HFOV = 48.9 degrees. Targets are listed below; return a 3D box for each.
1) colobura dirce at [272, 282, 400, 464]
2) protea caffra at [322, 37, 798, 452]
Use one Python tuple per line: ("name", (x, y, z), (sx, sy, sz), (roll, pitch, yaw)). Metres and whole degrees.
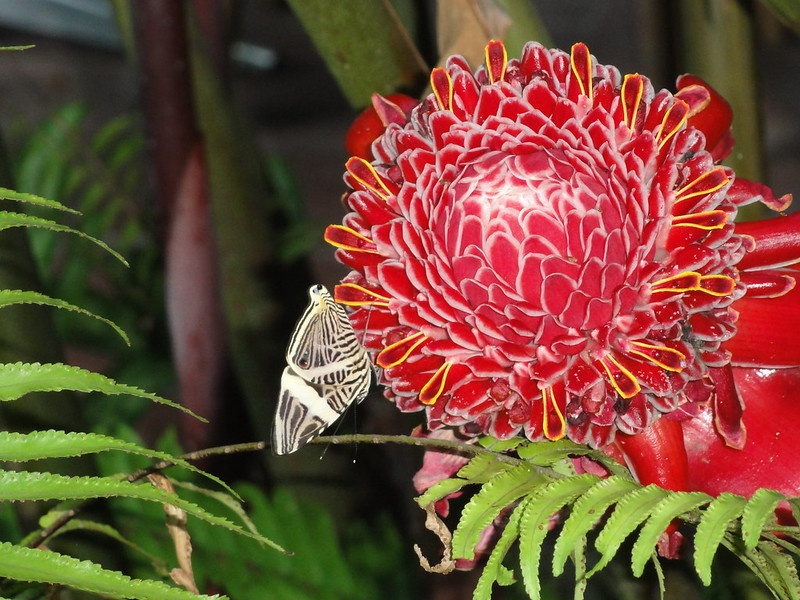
("colobura dirce", (-0.069, 0.053, 0.716), (0.092, 0.124, 0.032), (-11, -8, -16))
("protea caffra", (0.153, -0.031, 0.849), (0.356, 0.357, 0.301), (1, 5, 22))
